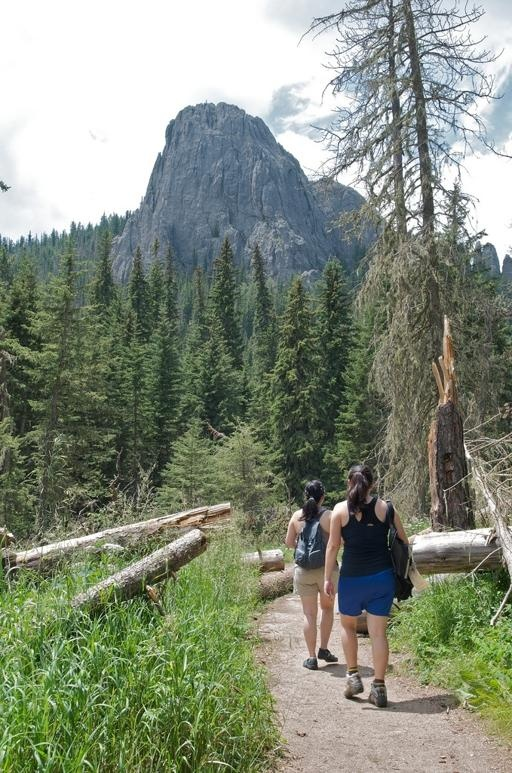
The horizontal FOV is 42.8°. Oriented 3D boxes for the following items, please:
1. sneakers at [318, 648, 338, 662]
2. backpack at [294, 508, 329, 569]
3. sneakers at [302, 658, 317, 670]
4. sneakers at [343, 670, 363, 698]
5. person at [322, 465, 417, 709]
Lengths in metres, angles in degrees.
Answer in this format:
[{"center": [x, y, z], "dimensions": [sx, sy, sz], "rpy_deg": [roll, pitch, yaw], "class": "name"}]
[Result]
[{"center": [0.689, 2.494, 6.093], "dimensions": [0.214, 0.119, 0.080], "rpy_deg": [7, -6, -33], "class": "sneakers"}, {"center": [0.529, 1.457, 6.211], "dimensions": [0.318, 0.533, 0.256], "rpy_deg": [-4, -10, 44], "class": "backpack"}, {"center": [0.482, 2.453, 5.804], "dimensions": [0.061, 0.084, 0.122], "rpy_deg": [2, -7, -2], "class": "sneakers"}, {"center": [0.715, 2.214, 4.859], "dimensions": [0.089, 0.135, 0.232], "rpy_deg": [-1, -29, -2], "class": "sneakers"}, {"center": [0.822, 1.483, 4.897], "dimensions": [0.697, 1.810, 0.517], "rpy_deg": [-9, 0, 15], "class": "person"}]
